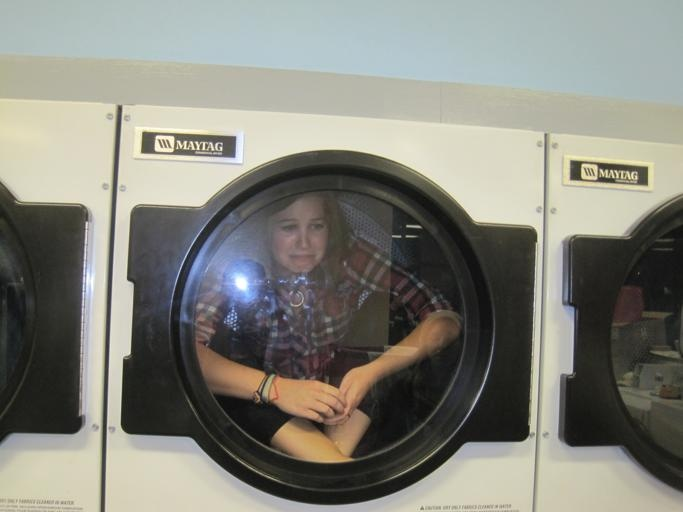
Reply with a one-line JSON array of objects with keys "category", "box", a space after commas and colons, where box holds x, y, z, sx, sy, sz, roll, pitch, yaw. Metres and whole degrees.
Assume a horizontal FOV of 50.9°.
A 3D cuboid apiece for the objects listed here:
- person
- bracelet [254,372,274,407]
[{"category": "person", "box": [-0.036, 0.143, 2.311, 0.792, 0.954, 0.658, 0, 13, -11]}, {"category": "bracelet", "box": [-0.215, 0.378, 2.029, 0.019, 0.073, 0.070, 17, 8, -11]}]
